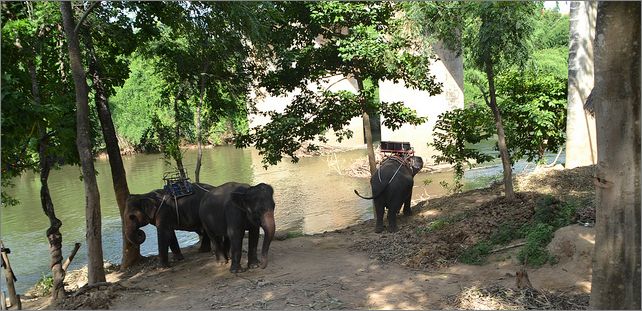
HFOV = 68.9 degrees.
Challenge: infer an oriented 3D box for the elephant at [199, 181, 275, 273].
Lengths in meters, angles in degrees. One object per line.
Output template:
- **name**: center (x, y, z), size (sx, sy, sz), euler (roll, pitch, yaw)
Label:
- **elephant**: center (-3.104, 2.747, 18.097), size (1.998, 3.140, 4.357), euler (1, -1, -43)
